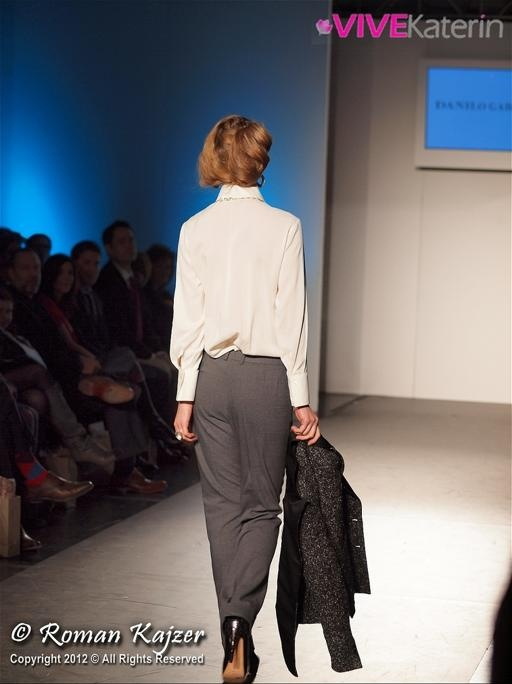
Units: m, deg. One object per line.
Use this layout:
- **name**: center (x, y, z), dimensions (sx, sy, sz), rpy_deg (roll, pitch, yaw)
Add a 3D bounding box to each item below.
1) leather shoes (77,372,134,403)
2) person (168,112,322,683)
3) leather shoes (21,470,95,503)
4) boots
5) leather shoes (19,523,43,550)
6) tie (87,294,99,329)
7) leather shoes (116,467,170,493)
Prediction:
- **leather shoes**: center (-0.658, 0.209, 2.786), dimensions (0.163, 0.097, 0.161), rpy_deg (7, -10, 22)
- **person**: center (-0.034, 0.215, 1.370), dimensions (0.345, 1.048, 0.242), rpy_deg (1, 4, 4)
- **leather shoes**: center (-0.770, 0.565, 2.452), dimensions (0.231, 0.091, 0.075), rpy_deg (-1, 6, -28)
- **boots**: center (-0.808, 0.396, 2.822), dimensions (0.314, 0.149, 0.649), rpy_deg (26, 8, -15)
- **leather shoes**: center (-0.821, 0.722, 2.331), dimensions (0.120, 0.082, 0.044), rpy_deg (1, -2, -39)
- **tie**: center (-0.691, -0.146, 2.671), dimensions (0.059, 0.102, 0.025), rpy_deg (-5, 4, -35)
- **leather shoes**: center (-0.545, 0.667, 3.008), dimensions (0.251, 0.103, 0.081), rpy_deg (1, -2, -34)
